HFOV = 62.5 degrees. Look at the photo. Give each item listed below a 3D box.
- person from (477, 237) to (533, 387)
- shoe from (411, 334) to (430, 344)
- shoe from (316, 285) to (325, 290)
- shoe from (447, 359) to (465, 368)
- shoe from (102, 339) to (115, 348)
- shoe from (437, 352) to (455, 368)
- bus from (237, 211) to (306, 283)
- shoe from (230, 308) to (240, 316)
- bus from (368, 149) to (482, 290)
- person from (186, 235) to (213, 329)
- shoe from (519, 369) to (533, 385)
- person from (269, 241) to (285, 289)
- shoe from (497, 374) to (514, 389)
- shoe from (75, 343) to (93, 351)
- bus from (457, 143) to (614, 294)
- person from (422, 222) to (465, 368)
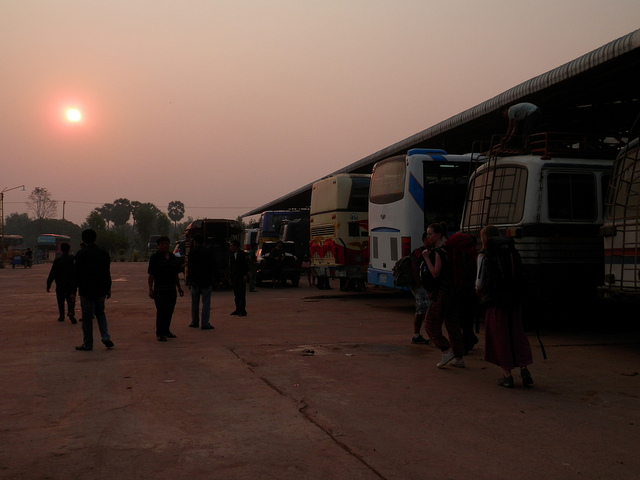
[{"bbox_3d":[2.536,0.862,7.291,0.688,1.789,0.318,0,-1,13],"label":"person"},{"bbox_3d":[2.017,1.995,10.590,0.362,0.168,0.252,0,-1,8],"label":"shoe"},{"bbox_3d":[0.046,2.247,24.870,0.327,0.205,0.328,0,-1,0],"label":"shoe"},{"bbox_3d":[2.188,1.983,8.491,0.123,0.143,0.335,1,1,-25],"label":"shoe"},{"bbox_3d":[-4.035,1.970,10.035,0.190,0.157,0.158,0,-1,-25],"label":"shoe"},{"bbox_3d":[1.962,1.891,8.271,0.152,0.121,0.352,37,-53,-16],"label":"shoe"},{"bbox_3d":[-3.409,0.343,36.312,3.080,4.539,10.023,2,0,-16],"label":"bus"},{"bbox_3d":[-2.456,2.104,15.310,0.232,0.196,0.348,0,-1,-10],"label":"shoe"},{"bbox_3d":[4.971,-0.778,17.909,7.691,3.893,2.515,-4,0,-35],"label":"bus"},{"bbox_3d":[-3.004,1.027,13.230,0.562,2.276,1.387,0,-1,-14],"label":"person"},{"bbox_3d":[2.830,1.881,7.212,0.144,0.212,0.176,-1,-1,21],"label":"shoe"},{"bbox_3d":[-2.154,1.243,26.372,0.733,2.311,1.030,0,-1,5],"label":"person"},{"bbox_3d":[2.529,1.925,7.191,0.213,0.158,0.211,-1,-1,20],"label":"shoe"},{"bbox_3d":[-4.439,2.013,9.925,0.355,0.150,0.131,4,-2,17],"label":"shoe"},{"bbox_3d":[4.766,-0.656,12.170,4.334,2.630,2.607,-3,3,-20],"label":"bus"},{"bbox_3d":[2.017,0.865,8.591,0.611,2.323,1.246,0,-1,15],"label":"person"}]
